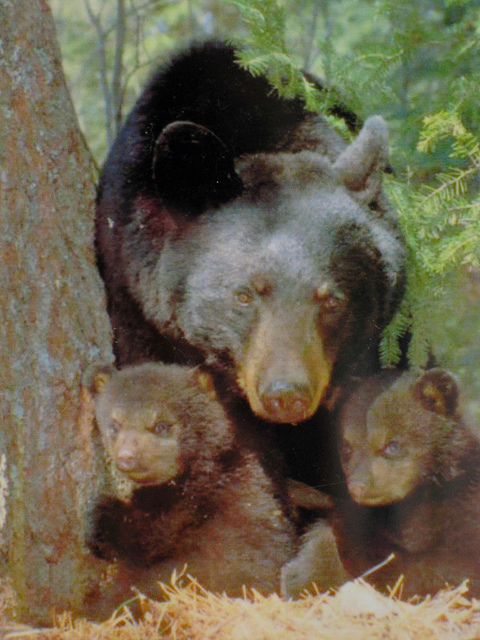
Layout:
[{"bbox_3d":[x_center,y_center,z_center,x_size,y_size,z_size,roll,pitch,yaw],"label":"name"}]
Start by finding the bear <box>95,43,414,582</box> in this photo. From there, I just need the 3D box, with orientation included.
[{"bbox_3d":[0.032,-0.066,6.044,1.000,1.536,2.263,1,78,-10],"label":"bear"}]

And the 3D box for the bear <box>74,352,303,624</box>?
[{"bbox_3d":[-0.288,0.601,5.835,1.020,1.318,0.605,-8,10,-39],"label":"bear"}]
